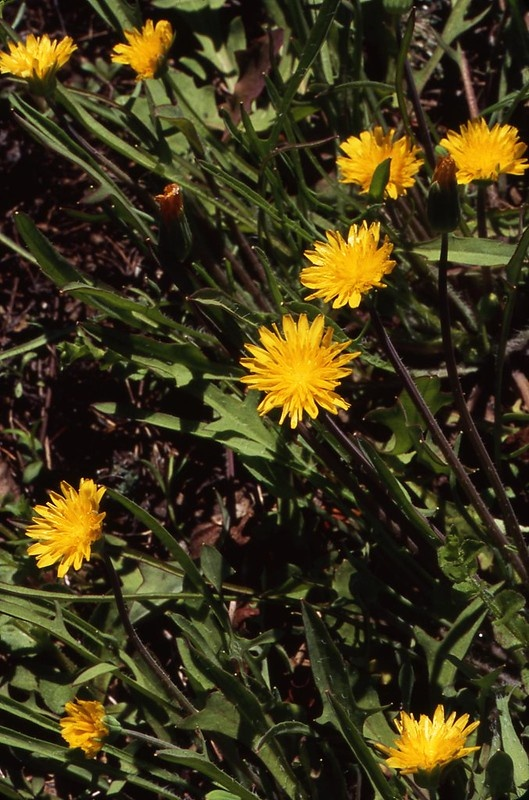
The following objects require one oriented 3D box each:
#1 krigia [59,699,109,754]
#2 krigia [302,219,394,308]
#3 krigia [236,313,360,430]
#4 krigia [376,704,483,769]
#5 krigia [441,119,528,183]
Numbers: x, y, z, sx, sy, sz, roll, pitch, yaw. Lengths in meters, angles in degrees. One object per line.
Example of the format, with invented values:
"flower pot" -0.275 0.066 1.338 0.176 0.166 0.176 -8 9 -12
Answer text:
"krigia" -0.297 0.541 1.140 0.083 0.072 0.079 3 61 14
"krigia" 0.138 -0.221 1.059 0.144 0.136 0.083 4 75 -31
"krigia" 0.051 -0.042 1.001 0.156 0.065 0.174 -24 58 -3
"krigia" 0.235 0.485 0.967 0.126 0.108 0.066 -13 87 -10
"krigia" 0.367 -0.393 1.145 0.155 0.071 0.152 5 71 11
